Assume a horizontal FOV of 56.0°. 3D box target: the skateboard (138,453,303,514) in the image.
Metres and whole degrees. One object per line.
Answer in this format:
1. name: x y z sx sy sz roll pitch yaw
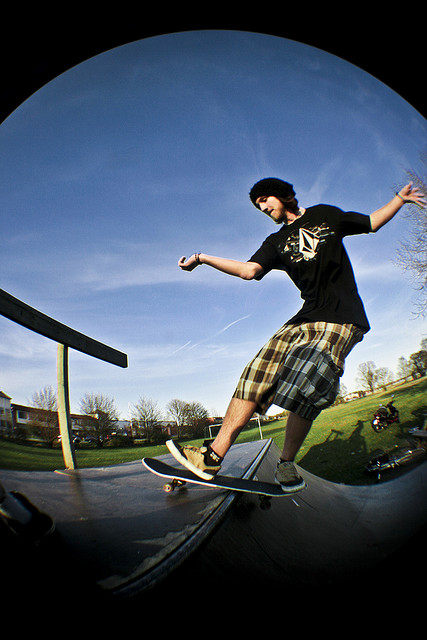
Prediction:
1. skateboard: 0.028 0.780 1.872 0.794 0.126 0.187 4 -5 23

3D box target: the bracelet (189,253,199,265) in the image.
1. bracelet: -0.103 -0.328 2.175 0.015 0.056 0.057 -18 25 2

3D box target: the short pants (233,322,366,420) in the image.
1. short pants: 0.437 0.259 2.004 0.409 0.301 0.548 8 49 44

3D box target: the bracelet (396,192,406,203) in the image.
1. bracelet: 0.924 -0.606 1.982 0.009 0.068 0.010 -40 -11 -14
